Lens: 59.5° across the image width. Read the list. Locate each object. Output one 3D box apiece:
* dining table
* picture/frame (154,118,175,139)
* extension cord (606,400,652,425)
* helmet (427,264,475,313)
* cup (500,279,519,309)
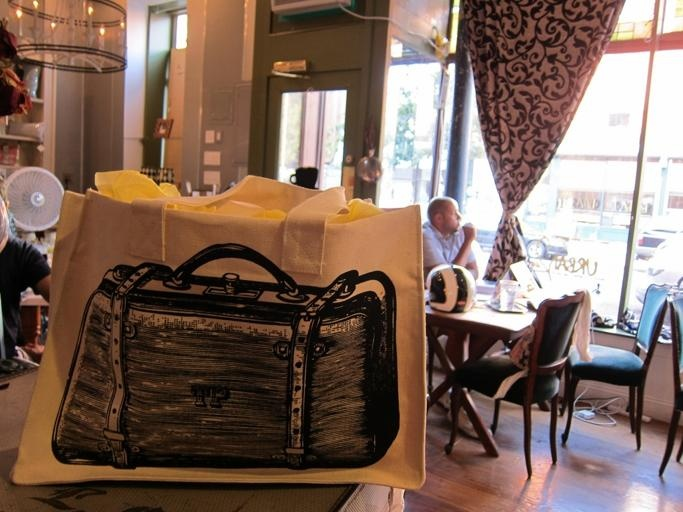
[{"bbox_3d":[0.773,0.613,3.548,0.694,0.779,0.889,2,2,35],"label":"dining table"},{"bbox_3d":[-1.893,-1.352,6.426,0.225,0.237,0.062,6,-3,11],"label":"picture/frame"},{"bbox_3d":[1.917,1.014,3.986,0.327,0.101,0.120,3,0,40],"label":"extension cord"},{"bbox_3d":[0.625,0.168,3.376,0.201,0.287,0.240,0,11,-7],"label":"helmet"},{"bbox_3d":[0.977,0.233,3.592,0.141,0.197,0.145,3,-3,0],"label":"cup"}]
